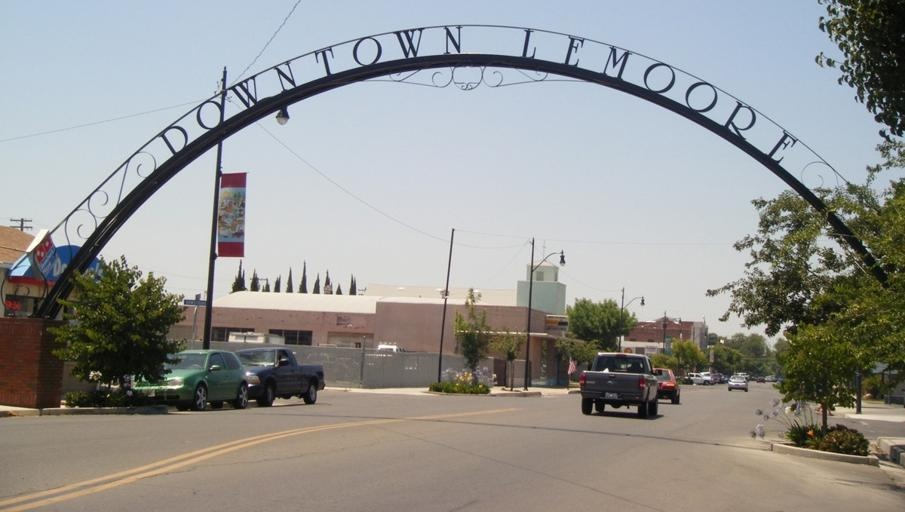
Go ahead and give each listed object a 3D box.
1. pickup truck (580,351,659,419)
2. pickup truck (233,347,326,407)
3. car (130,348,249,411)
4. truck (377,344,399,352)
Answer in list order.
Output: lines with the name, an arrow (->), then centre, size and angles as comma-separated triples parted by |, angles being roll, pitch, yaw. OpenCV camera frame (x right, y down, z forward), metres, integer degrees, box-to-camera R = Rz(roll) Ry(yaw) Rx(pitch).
pickup truck -> 7.655, 5.810, 36.294 | 3.167, 2.923, 3.122 | -1, -14, 12
pickup truck -> -7.895, 5.374, 35.991 | 2.155, 1.574, 3.726 | -5, -14, 19
car -> -10.254, 4.877, 31.742 | 4.259, 2.446, 1.540 | 8, -14, -25
truck -> -4.988, 7.158, 62.547 | 1.270, 0.527, 1.326 | 2, -5, -4
